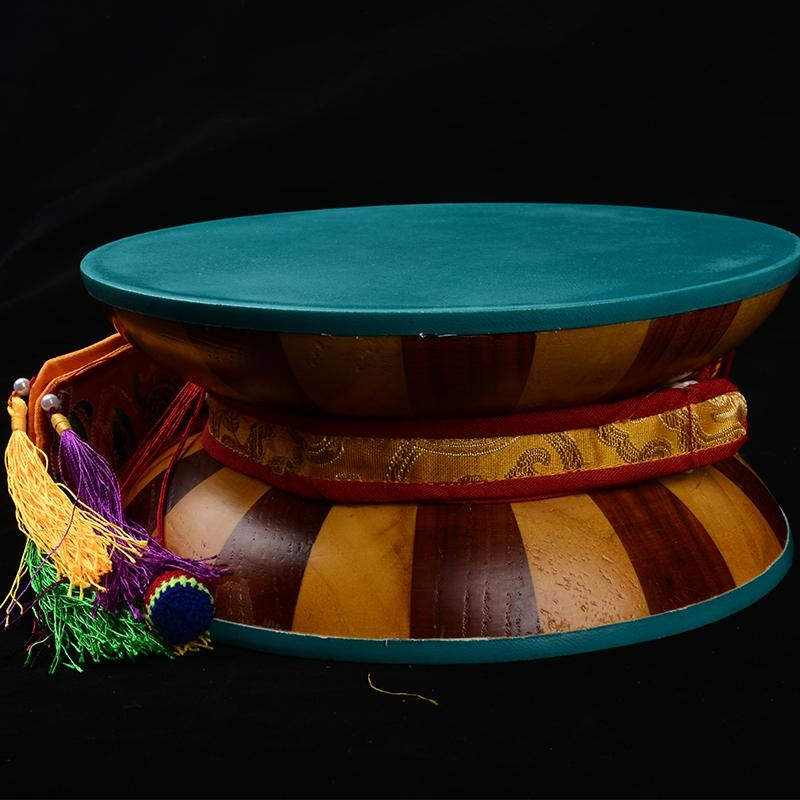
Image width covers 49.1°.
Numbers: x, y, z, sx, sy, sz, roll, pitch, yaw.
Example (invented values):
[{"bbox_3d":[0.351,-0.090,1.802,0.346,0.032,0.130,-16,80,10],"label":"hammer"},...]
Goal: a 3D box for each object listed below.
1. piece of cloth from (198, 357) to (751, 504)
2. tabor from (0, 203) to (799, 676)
[{"bbox_3d":[0.095,0.049,1.089,0.701,0.157,0.231,0,-8,-4],"label":"piece of cloth"},{"bbox_3d":[-0.018,0.064,1.056,0.951,0.255,0.652,-3,15,-9],"label":"tabor"}]
